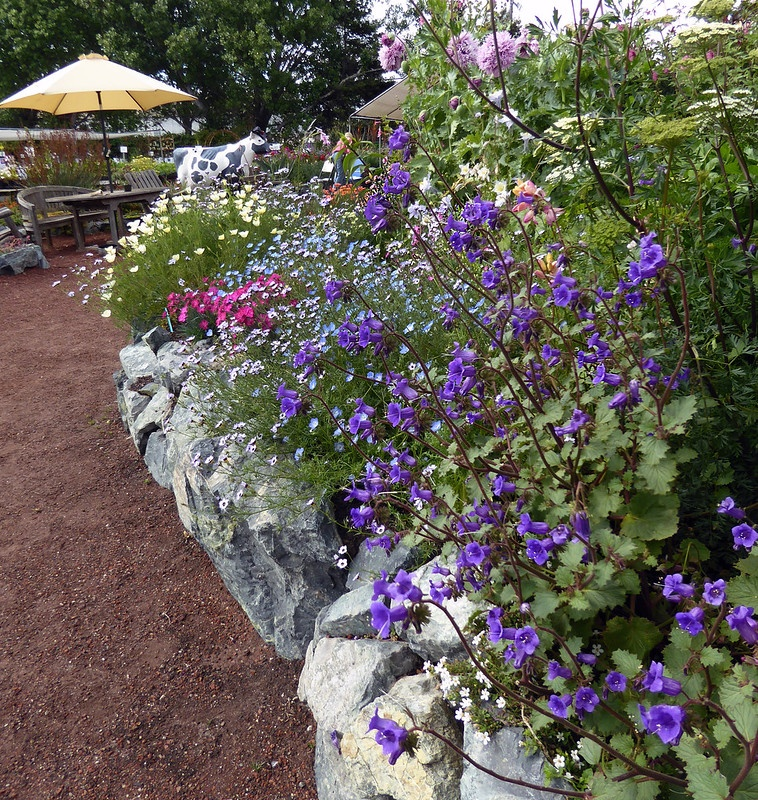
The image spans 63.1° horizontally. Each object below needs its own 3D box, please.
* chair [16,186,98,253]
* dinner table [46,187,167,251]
[{"bbox_3d":[-6.631,-3.660,12.560,1.269,1.666,1.379,21,20,21],"label":"chair"},{"bbox_3d":[-5.381,-3.873,12.545,1.791,1.495,2.260,7,19,25],"label":"dinner table"}]
